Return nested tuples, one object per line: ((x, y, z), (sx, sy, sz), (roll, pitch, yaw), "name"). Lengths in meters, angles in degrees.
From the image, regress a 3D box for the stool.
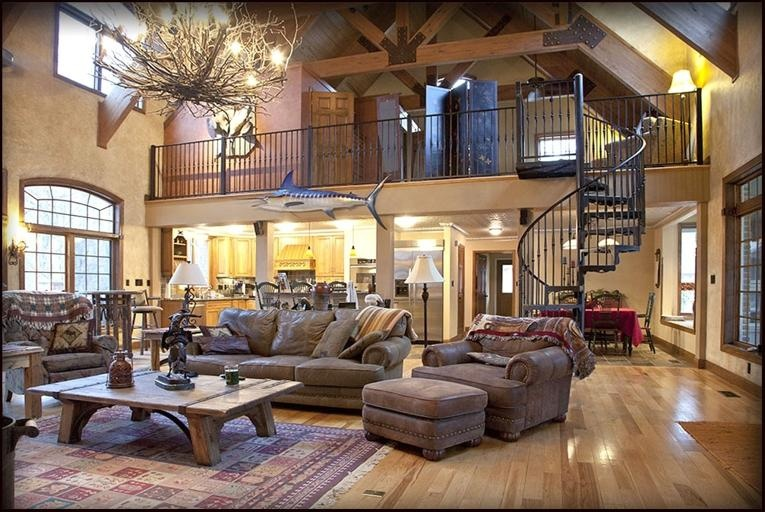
((0.510, 1.423, 5.497), (0.975, 0.515, 0.761), (-3, -5, 45), "stool")

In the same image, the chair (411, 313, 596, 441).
((1.362, 1.215, 6.191), (1.488, 1.008, 1.547), (3, -5, -45), "chair")

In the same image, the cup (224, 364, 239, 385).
((-1.571, 1.230, 5.774), (0.201, 0.214, 0.197), (0, -6, 0), "cup")

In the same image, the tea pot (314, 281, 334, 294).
((-0.917, 0.462, 8.042), (0.229, 0.149, 0.209), (0, -3, 0), "tea pot")

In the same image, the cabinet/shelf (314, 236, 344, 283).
((-1.394, 0.038, 13.722), (0.952, 1.132, 0.305), (6, 11, 29), "cabinet/shelf")

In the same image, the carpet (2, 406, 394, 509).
((-1.775, 1.925, 5.202), (3.386, 0.076, 1.566), (1, 8, 4), "carpet")

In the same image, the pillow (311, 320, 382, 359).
((-0.469, 1.027, 6.769), (0.833, 0.434, 0.421), (2, 9, 7), "pillow")

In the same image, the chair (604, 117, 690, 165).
((4.612, -2.028, 9.535), (1.150, 1.092, 1.162), (-4, 0, 25), "chair")

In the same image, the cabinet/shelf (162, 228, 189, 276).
((-4.340, -0.086, 11.447), (0.273, 1.108, 1.047), (0, -4, 3), "cabinet/shelf")

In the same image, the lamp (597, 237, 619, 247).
((3.798, -0.239, 9.312), (0.356, 0.174, 0.347), (-1, -4, -9), "lamp")

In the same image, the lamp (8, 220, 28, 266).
((-5.930, -0.206, 9.021), (0.164, 0.678, 0.515), (-1, 10, -7), "lamp")

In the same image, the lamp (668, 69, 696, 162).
((5.019, -2.404, 9.305), (0.446, 1.526, 0.811), (5, 11, 23), "lamp")
